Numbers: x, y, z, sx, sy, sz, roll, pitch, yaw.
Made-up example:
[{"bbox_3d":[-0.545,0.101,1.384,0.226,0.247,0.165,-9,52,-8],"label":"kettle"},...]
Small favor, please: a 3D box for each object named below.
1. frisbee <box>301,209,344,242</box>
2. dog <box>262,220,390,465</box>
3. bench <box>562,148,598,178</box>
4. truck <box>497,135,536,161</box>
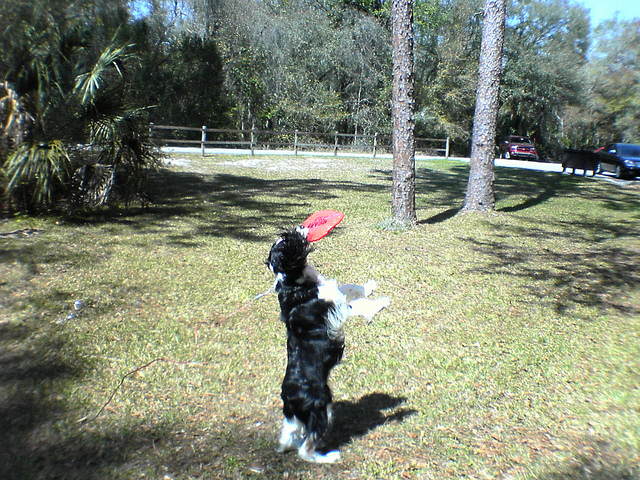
[{"bbox_3d":[0.045,-0.170,4.080,0.363,0.041,0.370,-31,39,-28],"label":"frisbee"},{"bbox_3d":[-0.099,0.952,4.015,0.673,2.045,0.485,0,12,-3],"label":"dog"},{"bbox_3d":[13.191,-3.925,23.144,1.261,1.302,1.609,6,6,33],"label":"bench"},{"bbox_3d":[14.962,-7.045,35.068,1.451,1.446,2.774,0,3,-3],"label":"truck"}]
